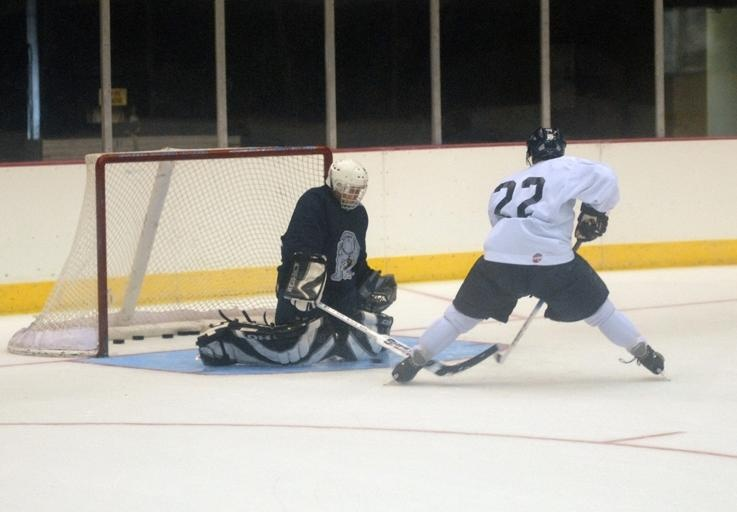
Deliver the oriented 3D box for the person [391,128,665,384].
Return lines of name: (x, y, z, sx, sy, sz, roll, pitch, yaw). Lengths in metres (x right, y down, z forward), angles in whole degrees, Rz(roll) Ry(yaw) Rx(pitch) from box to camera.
person: (0.949, -0.023, 5.855, 1.624, 1.488, 0.614, -2, 4, 3)

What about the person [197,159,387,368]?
person: (-0.469, 0.061, 6.395, 1.285, 1.247, 1.167, -2, 3, -32)

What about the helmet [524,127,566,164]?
helmet: (1.068, -0.662, 5.996, 0.246, 0.246, 0.277, 1, 8, 0)

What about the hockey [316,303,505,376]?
hockey: (0.244, 0.544, 6.144, 0.169, 0.216, 1.533, 4, 8, -38)

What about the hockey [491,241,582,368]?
hockey: (1.012, 0.306, 5.974, 0.130, 0.903, 0.106, 40, 27, 31)
